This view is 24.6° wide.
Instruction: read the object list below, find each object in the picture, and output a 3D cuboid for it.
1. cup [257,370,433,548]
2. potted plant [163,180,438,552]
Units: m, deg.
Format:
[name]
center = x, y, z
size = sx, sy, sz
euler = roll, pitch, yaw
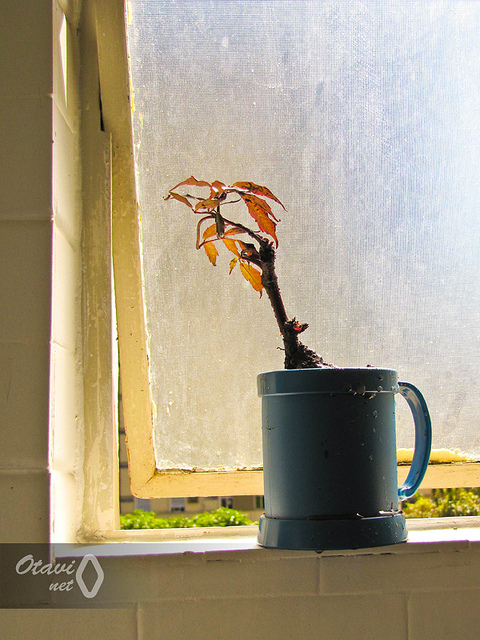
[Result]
[cup]
center = 0.143, 0.178, 1.471
size = 0.218, 0.244, 0.206
euler = -3, -3, 0
[potted plant]
center = 0.078, 0.060, 1.563
size = 0.375, 0.624, 0.296
euler = 4, -10, -28
